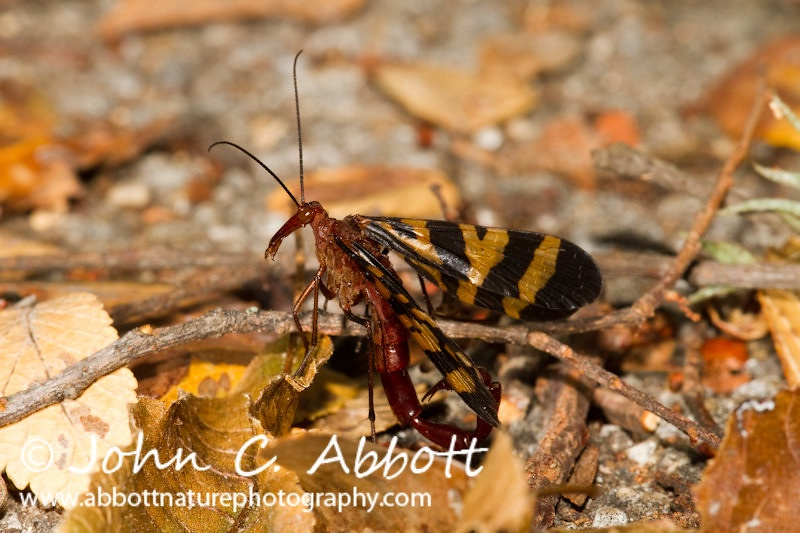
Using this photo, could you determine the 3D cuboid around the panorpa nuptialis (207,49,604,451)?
[{"bbox_3d":[0.088,0.174,2.810,1.111,0.405,0.758,14,72,5],"label":"panorpa nuptialis"}]
